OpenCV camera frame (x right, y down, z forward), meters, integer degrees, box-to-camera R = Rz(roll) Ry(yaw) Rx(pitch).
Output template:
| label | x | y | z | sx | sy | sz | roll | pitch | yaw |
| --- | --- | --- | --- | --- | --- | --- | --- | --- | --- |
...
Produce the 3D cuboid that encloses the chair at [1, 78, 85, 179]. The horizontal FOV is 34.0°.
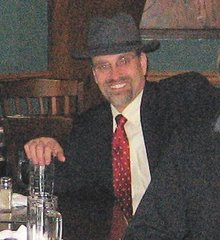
| label | x | y | z | sx | sy | sz | roll | pitch | yaw |
| --- | --- | --- | --- | --- | --- | --- | --- | --- | --- |
| chair | -0.311 | 0.026 | 1.823 | 0.474 | 0.621 | 0.415 | 0 | 13 | -3 |
